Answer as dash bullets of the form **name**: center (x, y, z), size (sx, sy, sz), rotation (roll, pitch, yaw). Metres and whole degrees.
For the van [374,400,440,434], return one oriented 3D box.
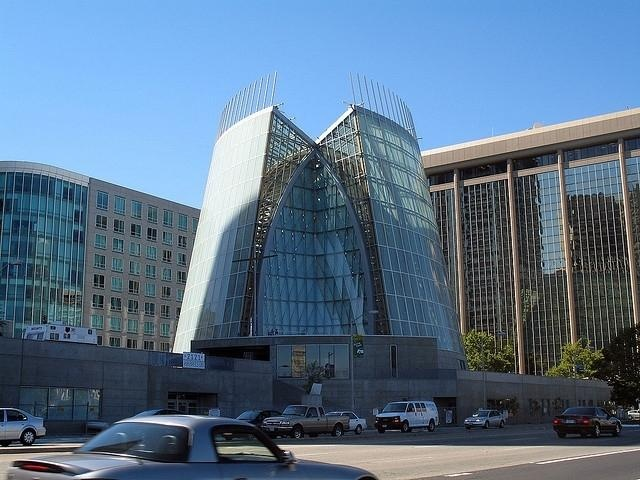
- **van**: center (6.207, 12.570, 43.670), size (2.353, 1.724, 4.503), rotation (-17, -25, 40)
